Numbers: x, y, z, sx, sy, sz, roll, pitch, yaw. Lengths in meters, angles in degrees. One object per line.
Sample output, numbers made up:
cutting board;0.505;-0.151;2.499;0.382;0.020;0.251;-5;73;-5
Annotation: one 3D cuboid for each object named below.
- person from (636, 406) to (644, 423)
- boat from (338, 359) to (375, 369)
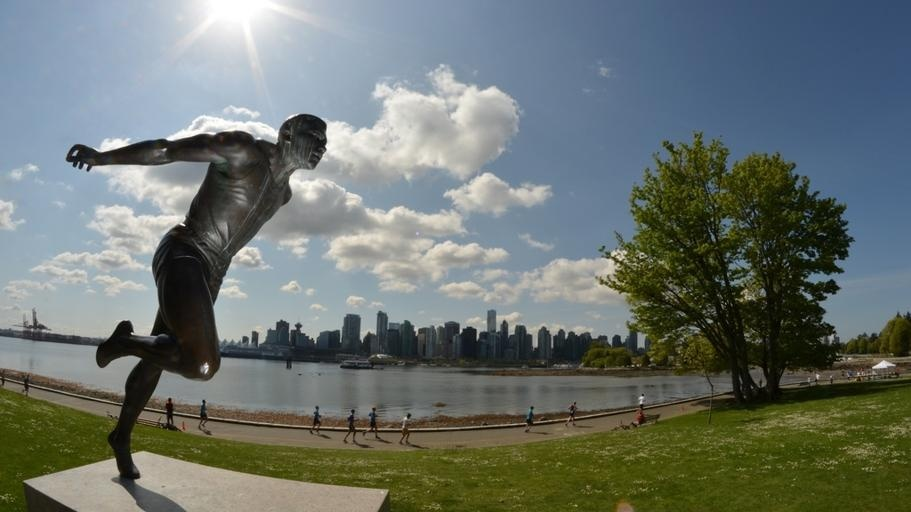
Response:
person;15.897;13.563;54.844;0.669;1.457;2.966;-4;-14;15
boat;-31.738;35.089;205.959;8.448;3.349;12.077;4;-14;-17
